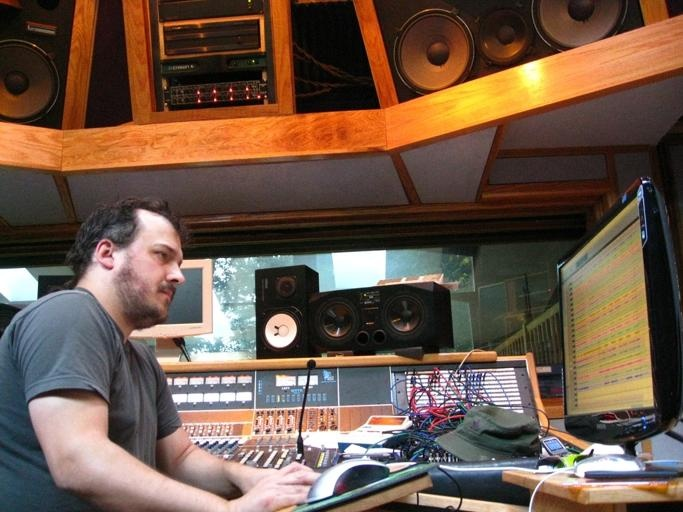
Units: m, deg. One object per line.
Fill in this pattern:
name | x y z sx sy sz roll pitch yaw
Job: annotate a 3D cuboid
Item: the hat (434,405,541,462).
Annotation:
hat | 0.473 0.578 1.732 0.277 0.147 0.254 -13 -15 38
